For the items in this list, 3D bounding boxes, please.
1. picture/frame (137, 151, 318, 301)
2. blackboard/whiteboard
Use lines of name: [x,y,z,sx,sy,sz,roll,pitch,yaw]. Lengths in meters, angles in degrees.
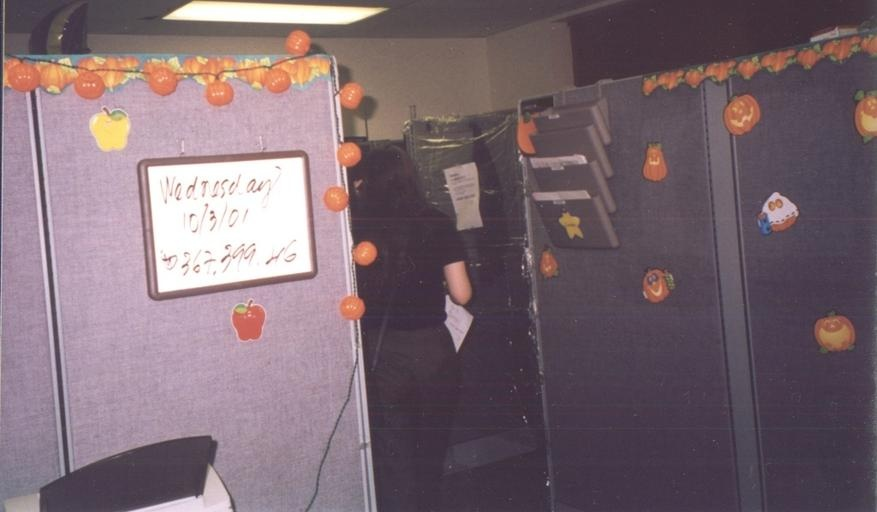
picture/frame: [-0.751,-0.108,2.964,0.521,0.382,0.034,-8,3,-19]
blackboard/whiteboard: [-0.748,-0.109,2.964,0.519,0.379,0.035,-8,2,-20]
